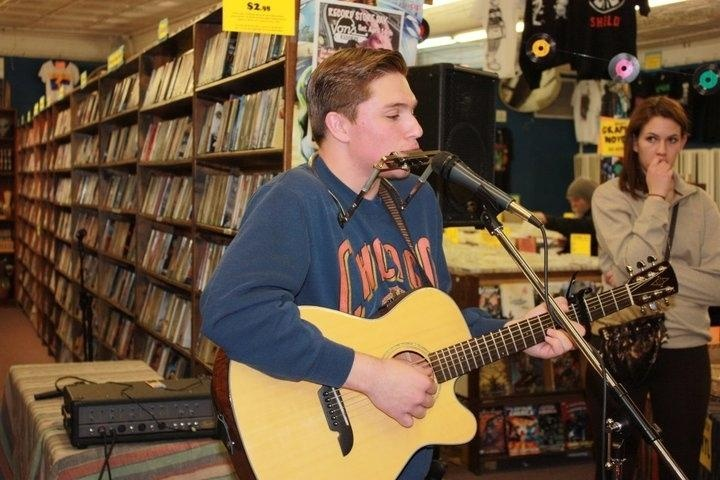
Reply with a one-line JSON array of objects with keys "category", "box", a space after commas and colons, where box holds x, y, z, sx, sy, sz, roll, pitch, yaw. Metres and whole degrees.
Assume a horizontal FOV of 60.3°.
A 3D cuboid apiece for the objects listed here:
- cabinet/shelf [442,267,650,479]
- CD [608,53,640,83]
[{"category": "cabinet/shelf", "box": [1.288, 1.341, 4.987, 1.515, 1.564, 0.403, -2, -1, -16]}, {"category": "CD", "box": [1.727, -1.111, 4.053, 0.186, 0.189, 0.174, 2, 7, 20]}]
